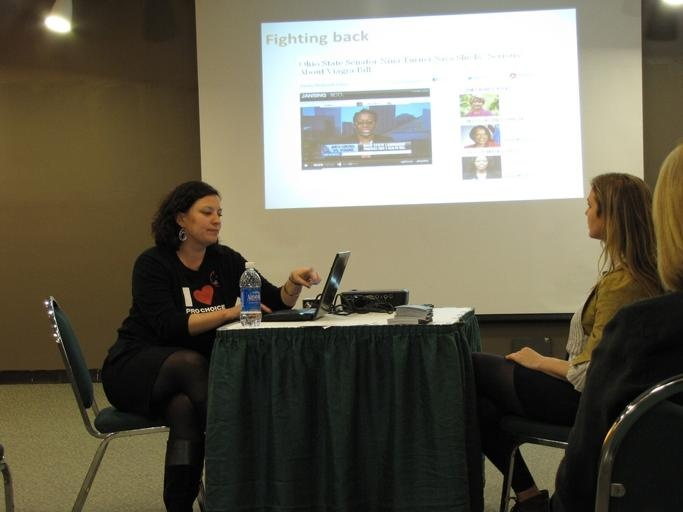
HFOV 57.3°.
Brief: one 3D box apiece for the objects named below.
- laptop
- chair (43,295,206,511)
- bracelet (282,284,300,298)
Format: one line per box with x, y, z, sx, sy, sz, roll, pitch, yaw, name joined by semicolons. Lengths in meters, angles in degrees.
-0.146;0.173;2.952;0.285;0.242;0.365;-2;-4;8;laptop
-1.245;0.652;3.442;0.902;1.513;0.830;0;0;-9;chair
-0.266;0.181;3.277;0.042;0.073;0.042;20;5;-1;bracelet
